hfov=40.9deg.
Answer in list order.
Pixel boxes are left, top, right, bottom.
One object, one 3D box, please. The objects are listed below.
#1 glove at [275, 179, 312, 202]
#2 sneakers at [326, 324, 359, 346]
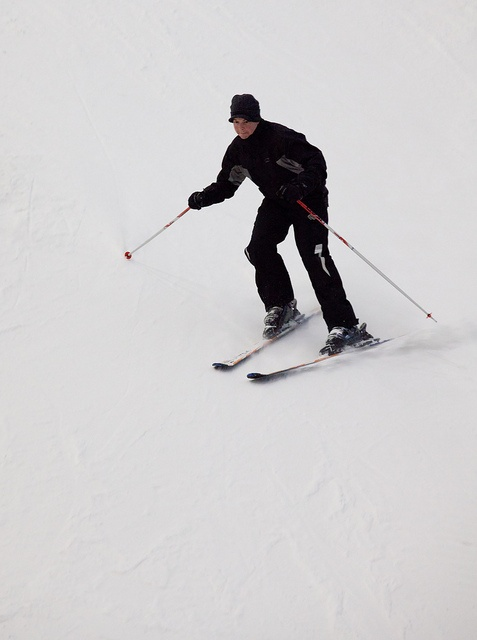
[{"bbox_3d":[0.314,-0.754,3.704,0.144,0.060,0.140,-27,30,-24],"label":"glove"},{"bbox_3d":[0.637,0.087,3.941,0.253,0.102,0.082,-17,9,-43],"label":"sneakers"}]
